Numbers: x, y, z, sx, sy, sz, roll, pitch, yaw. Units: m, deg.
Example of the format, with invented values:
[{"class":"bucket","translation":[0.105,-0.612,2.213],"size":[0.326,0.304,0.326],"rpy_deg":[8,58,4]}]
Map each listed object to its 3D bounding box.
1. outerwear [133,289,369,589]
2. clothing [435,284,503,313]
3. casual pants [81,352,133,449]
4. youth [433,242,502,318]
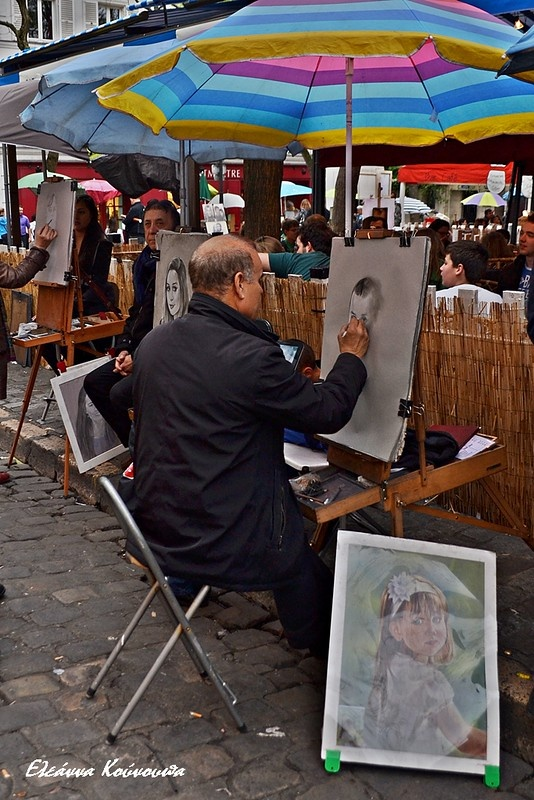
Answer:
[{"class":"outerwear","translation":[-0.123,0.115,2.132],"size":[0.790,0.947,0.782],"rpy_deg":[10,14,42]},{"class":"clothing","translation":[1.300,-0.663,3.868],"size":[0.346,0.129,0.351],"rpy_deg":[3,-1,3]},{"class":"casual pants","translation":[-1.175,-0.006,4.539],"size":[0.160,0.634,0.621],"rpy_deg":[-12,43,-30]},{"class":"youth","translation":[1.544,-0.933,4.679],"size":[0.399,0.581,0.716],"rpy_deg":[15,23,30]}]
